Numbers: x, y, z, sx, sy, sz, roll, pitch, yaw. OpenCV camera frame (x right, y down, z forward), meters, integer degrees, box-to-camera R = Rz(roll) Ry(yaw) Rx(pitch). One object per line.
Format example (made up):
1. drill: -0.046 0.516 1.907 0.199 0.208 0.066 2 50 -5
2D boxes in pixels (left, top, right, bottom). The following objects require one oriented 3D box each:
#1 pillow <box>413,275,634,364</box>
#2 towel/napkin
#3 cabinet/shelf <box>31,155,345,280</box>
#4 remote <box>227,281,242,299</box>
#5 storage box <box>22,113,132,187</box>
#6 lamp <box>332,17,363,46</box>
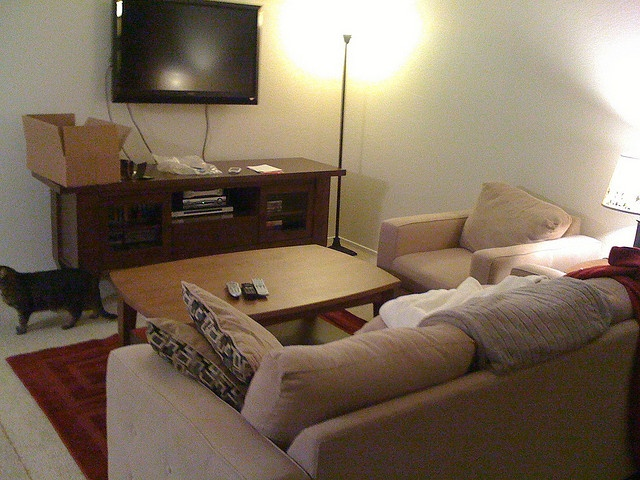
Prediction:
1. pillow: 0.713 0.264 1.664 0.461 0.122 0.318 -13 19 -20
2. towel/napkin: 0.709 0.266 1.662 0.460 0.120 0.317 -12 18 -22
3. cabinet/shelf: -0.936 -0.184 3.974 2.282 0.688 0.655 -8 18 -39
4. remote: -0.427 0.256 2.544 0.058 0.022 0.093 -6 32 -26
5. storage box: -1.524 -0.526 3.273 0.710 0.390 0.530 21 23 37
6. lamp: 0.254 -1.912 4.549 0.268 0.253 0.074 3 15 2
